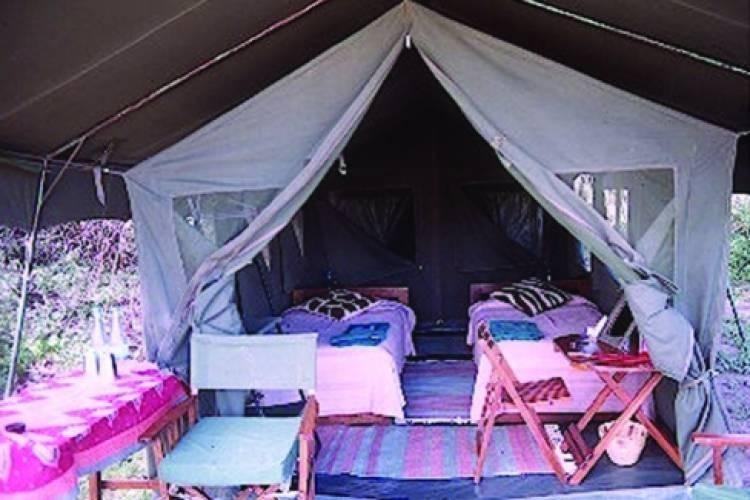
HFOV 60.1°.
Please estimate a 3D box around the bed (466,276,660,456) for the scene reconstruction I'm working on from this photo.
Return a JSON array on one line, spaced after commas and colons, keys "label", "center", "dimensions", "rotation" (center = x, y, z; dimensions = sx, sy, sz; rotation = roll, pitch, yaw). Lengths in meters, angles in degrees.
[{"label": "bed", "center": [1.368, 1.035, 5.803], "dimensions": [1.019, 0.776, 2.049], "rotation": [4, 6, 5]}]
